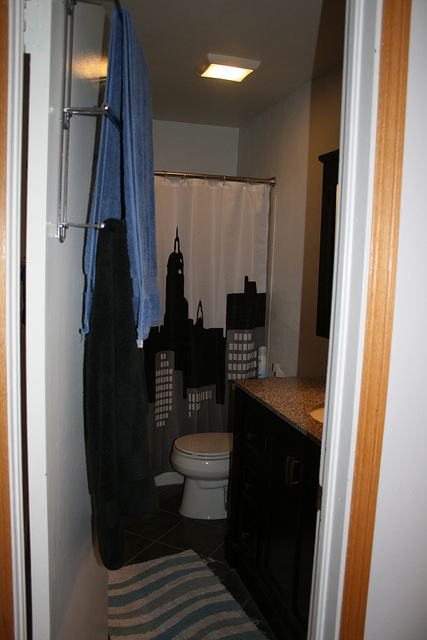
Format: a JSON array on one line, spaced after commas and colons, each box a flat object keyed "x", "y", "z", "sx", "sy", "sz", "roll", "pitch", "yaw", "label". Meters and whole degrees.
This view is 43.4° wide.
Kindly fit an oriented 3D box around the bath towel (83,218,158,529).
[{"x": -0.219, "y": 0.121, "z": 1.242, "sx": 0.161, "sy": 0.688, "sz": 0.263, "roll": 0, "pitch": 3, "yaw": -15, "label": "bath towel"}]

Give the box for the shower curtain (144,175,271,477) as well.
[{"x": -0.040, "y": 0.060, "z": 2.860, "sx": 0.663, "sy": 1.575, "sz": 0.201, "roll": 0, "pitch": 3, "yaw": -13, "label": "shower curtain"}]

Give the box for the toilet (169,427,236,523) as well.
[{"x": -0.049, "y": 0.764, "z": 2.500, "sx": 0.287, "sy": 0.357, "sz": 0.412, "roll": 1, "pitch": 8, "yaw": 2, "label": "toilet"}]
